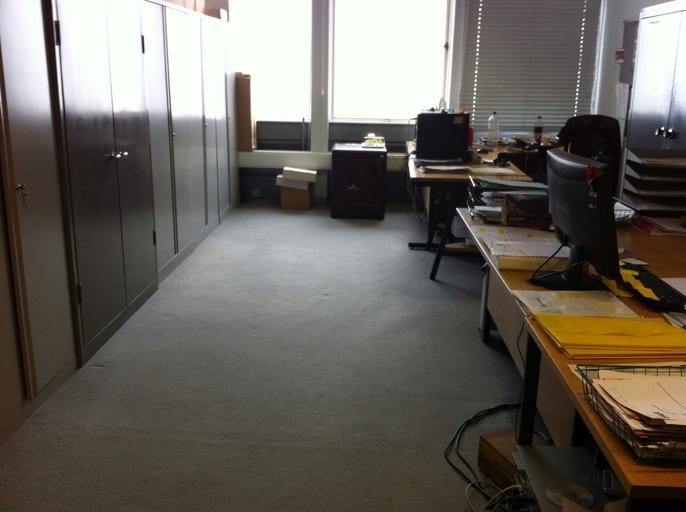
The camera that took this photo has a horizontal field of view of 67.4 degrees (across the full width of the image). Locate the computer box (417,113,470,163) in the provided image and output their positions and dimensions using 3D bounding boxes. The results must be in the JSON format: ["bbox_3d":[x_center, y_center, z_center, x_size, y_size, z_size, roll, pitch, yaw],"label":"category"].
[{"bbox_3d":[0.869,-1.064,4.775,0.551,0.550,0.401,2,13,7],"label":"computer box"}]

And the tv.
[{"bbox_3d":[0.885,-0.130,1.960,0.295,0.503,0.490,1,20,2],"label":"tv"}]

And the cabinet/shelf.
[{"bbox_3d":[0.018,-0.863,6.090,0.719,1.028,0.772,0,9,2],"label":"cabinet/shelf"}]

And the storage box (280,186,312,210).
[{"bbox_3d":[-0.581,-0.689,6.252,0.421,0.316,0.240,2,10,1],"label":"storage box"}]
